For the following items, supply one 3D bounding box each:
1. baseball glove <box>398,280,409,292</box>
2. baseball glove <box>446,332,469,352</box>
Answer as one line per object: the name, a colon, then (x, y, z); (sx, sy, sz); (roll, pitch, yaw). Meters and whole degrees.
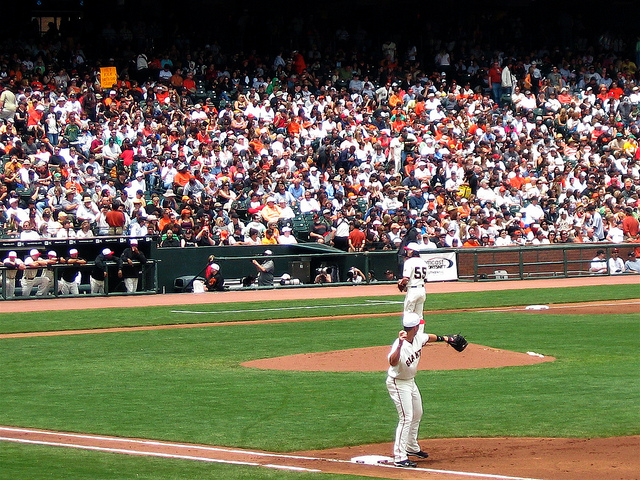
baseball glove: (1.939, 1.065, 36.529); (0.126, 0.234, 0.171); (17, -47, -7)
baseball glove: (3.137, 2.345, 35.949); (0.503, 0.284, 0.237); (32, -21, -25)
